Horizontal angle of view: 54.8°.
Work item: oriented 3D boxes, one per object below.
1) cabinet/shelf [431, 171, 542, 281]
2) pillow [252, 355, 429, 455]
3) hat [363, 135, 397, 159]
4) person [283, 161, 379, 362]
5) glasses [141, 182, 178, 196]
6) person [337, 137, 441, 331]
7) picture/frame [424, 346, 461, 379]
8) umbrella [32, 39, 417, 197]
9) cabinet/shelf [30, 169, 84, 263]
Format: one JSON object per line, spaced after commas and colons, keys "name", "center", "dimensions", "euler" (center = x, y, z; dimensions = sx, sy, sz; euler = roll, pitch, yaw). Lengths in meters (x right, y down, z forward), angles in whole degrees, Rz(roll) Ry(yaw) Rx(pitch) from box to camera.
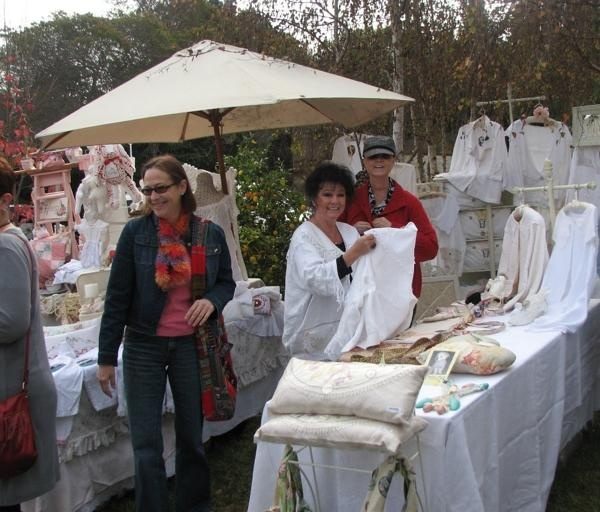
{"name": "cabinet/shelf", "center": [1.914, -0.352, 6.000], "dimensions": [1.064, 1.240, 0.409], "euler": [0, 2, 3]}
{"name": "pillow", "center": [0.179, 0.644, 2.519], "dimensions": [0.711, 0.336, 0.346], "euler": [1, 5, 26]}
{"name": "hat", "center": [0.547, -0.753, 4.006], "dimensions": [0.217, 0.162, 0.209], "euler": [-1, 5, 7]}
{"name": "person", "center": [0.232, 0.235, 3.791], "dimensions": [0.509, 1.710, 0.638], "euler": [-20, 28, -30]}
{"name": "glasses", "center": [-0.760, -0.353, 3.132], "dimensions": [0.194, 0.067, 0.100], "euler": [-2, 5, -8]}
{"name": "person", "center": [0.643, 0.165, 4.288], "dimensions": [0.749, 2.028, 0.548], "euler": [-4, 23, 8]}
{"name": "picture/frame", "center": [0.731, 0.563, 2.990], "dimensions": [0.184, 0.016, 0.273], "euler": [-5, 24, 19]}
{"name": "umbrella", "center": [-0.569, -1.122, 4.123], "dimensions": [1.626, 0.809, 1.808], "euler": [-15, 10, -15]}
{"name": "cabinet/shelf", "center": [-3.436, -0.521, 8.066], "dimensions": [0.537, 1.367, 0.415], "euler": [-9, 21, -33]}
